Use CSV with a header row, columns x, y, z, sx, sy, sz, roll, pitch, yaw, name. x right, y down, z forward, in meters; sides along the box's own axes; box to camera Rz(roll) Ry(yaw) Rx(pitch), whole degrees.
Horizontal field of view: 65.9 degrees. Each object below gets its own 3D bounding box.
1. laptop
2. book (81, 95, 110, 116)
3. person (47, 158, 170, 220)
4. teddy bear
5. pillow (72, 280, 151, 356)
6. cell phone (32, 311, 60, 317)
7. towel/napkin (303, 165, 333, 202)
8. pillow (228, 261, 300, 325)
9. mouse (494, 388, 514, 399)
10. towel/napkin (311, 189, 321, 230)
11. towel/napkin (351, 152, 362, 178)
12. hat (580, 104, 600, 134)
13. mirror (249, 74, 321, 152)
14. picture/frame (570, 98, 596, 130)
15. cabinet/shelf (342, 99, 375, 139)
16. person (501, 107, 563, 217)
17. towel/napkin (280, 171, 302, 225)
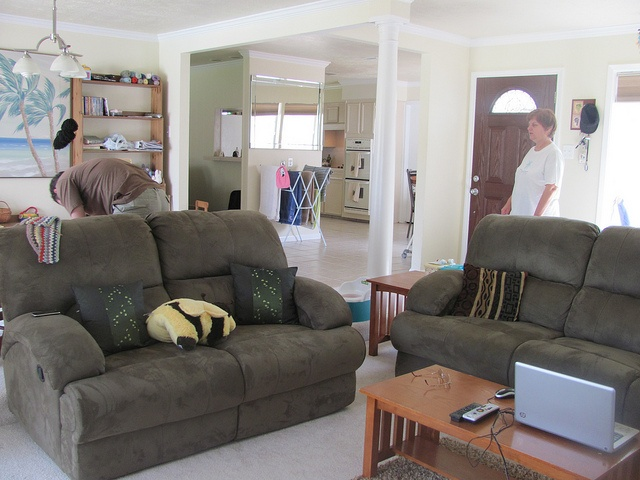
x,y,z,sx,sy,sz,roll,pitch,yaw,name
1.132,0.639,2.196,0.489,0.332,0.358,14,26,42,laptop
-3.078,-1.834,6.777,0.182,0.328,0.382,3,5,43,book
-1.887,-0.484,4.555,1.089,0.660,0.680,2,13,25,person
-0.755,0.470,2.984,0.510,0.195,0.490,7,22,-8,teddy bear
-1.175,0.434,2.802,0.122,0.372,0.405,-25,-8,39,pillow
-1.476,0.401,2.678,0.139,0.009,0.105,-2,12,-23,cell phone
0.007,-0.937,8.168,0.577,0.550,0.211,5,5,33,towel/napkin
-0.383,0.370,3.327,0.431,0.367,0.150,0,-24,-16,pillow
0.941,0.771,2.515,0.078,0.024,0.045,-8,11,-20,mouse
-0.059,-0.517,8.292,0.172,0.500,0.405,5,1,-9,towel/napkin
0.827,-1.662,10.980,0.050,0.537,0.297,-8,16,-38,towel/napkin
3.211,-1.453,5.892,0.241,0.327,0.103,10,6,42,hat
-0.640,-2.212,8.454,1.572,1.239,0.123,-1,5,-38,mirror
3.190,-1.530,6.026,0.281,0.347,0.019,-3,13,-8,picture/frame
0.785,-2.713,11.160,0.862,0.801,0.460,-11,18,-34,cabinet/shelf
1.987,-0.690,4.497,0.418,0.968,0.345,9,14,26,person
-0.470,-0.718,7.996,0.301,0.843,0.741,-5,13,-29,towel/napkin
